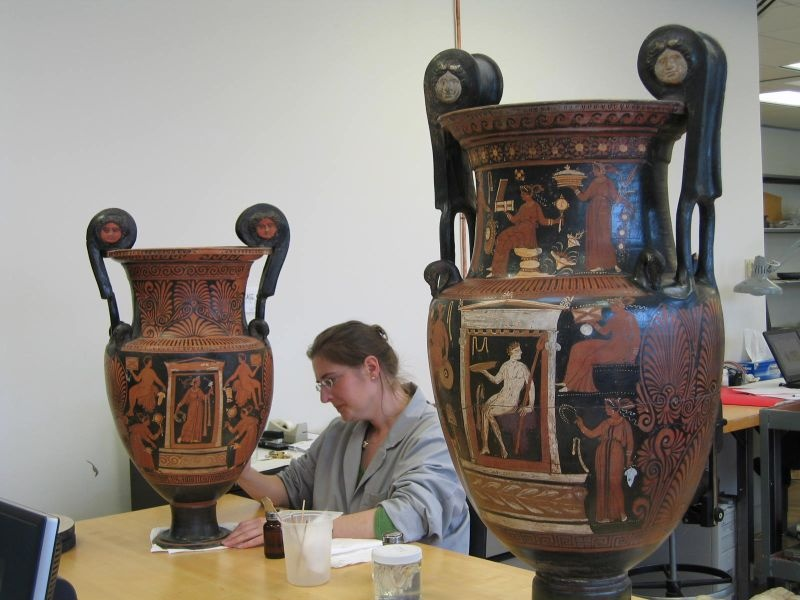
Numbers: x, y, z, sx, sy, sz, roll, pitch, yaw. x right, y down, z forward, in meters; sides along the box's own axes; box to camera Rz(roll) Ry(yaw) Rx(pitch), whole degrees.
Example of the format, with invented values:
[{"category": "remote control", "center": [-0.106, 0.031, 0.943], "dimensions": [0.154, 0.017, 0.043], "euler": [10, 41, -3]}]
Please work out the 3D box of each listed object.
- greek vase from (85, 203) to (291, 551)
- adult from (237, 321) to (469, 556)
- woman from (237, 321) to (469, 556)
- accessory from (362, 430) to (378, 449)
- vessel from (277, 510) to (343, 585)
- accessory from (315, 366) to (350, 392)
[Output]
[{"category": "greek vase", "center": [-0.610, 0.220, 2.638], "dimensions": [0.549, 0.991, 0.478], "euler": [0, 3, -10]}, {"category": "adult", "center": [-0.165, 0.473, 3.289], "dimensions": [0.692, 1.299, 0.792], "euler": [4, -12, -20]}, {"category": "woman", "center": [-0.149, 0.474, 3.293], "dimensions": [0.692, 1.299, 0.792], "euler": [4, -12, -20]}, {"category": "accessory", "center": [-0.097, 0.483, 3.073], "dimensions": [0.045, 0.068, 0.015], "euler": [-1, -2, 27]}, {"category": "vessel", "center": [-0.247, 0.644, 2.341], "dimensions": [0.183, 0.186, 0.148], "euler": [1, 6, 0]}, {"category": "accessory", "center": [-0.230, 0.274, 3.030], "dimensions": [0.106, 0.084, 0.085], "euler": [1, -11, -32]}]
